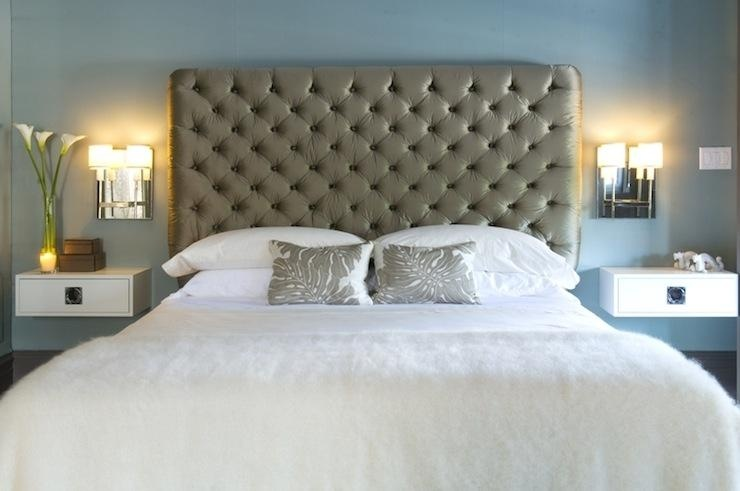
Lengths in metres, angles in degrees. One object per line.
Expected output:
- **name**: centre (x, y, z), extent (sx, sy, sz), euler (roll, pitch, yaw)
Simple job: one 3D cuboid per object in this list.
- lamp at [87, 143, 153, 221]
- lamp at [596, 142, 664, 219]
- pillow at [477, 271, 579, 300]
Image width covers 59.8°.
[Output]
- **lamp**: centre (-1.599, -0.421, 4.143), extent (0.487, 0.591, 0.174), euler (0, 2, -1)
- **lamp**: centre (1.635, -0.426, 4.114), extent (0.485, 0.571, 0.295), euler (1, 0, 1)
- **pillow**: centre (0.812, 0.218, 3.662), extent (0.339, 0.057, 0.210), euler (2, 25, -4)
